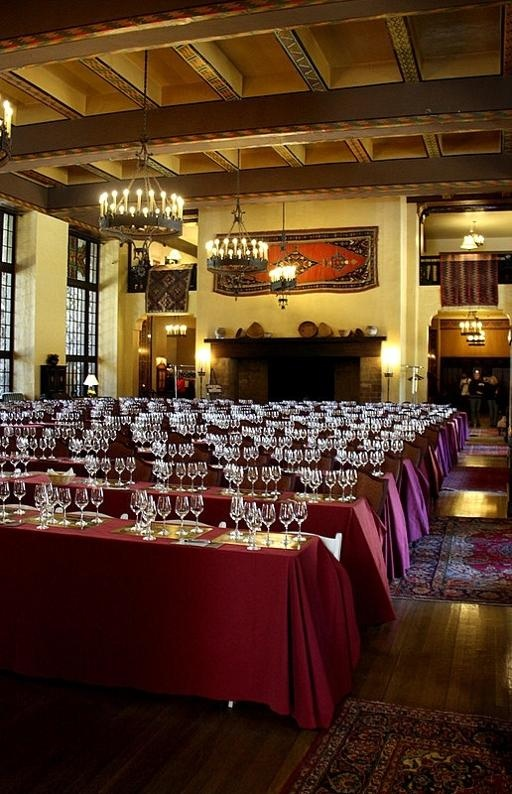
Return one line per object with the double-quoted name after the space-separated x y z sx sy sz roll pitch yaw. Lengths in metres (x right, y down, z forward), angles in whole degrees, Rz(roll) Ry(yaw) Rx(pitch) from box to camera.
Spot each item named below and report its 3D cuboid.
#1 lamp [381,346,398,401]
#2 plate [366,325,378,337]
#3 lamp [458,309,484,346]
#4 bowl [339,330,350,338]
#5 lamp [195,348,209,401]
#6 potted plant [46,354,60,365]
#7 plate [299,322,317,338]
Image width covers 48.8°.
3.894 -0.682 16.478 0.482 1.587 0.234 0 -5 15 "lamp"
3.375 -1.902 16.465 0.342 0.345 0.334 1 -5 5 "plate"
9.301 -3.058 24.414 0.660 1.529 2.642 -2 -5 27 "lamp"
2.615 -1.881 16.719 0.246 0.187 0.261 1 -3 0 "bowl"
-1.692 -0.808 17.905 0.287 1.680 0.705 5 -7 -39 "lamp"
-6.205 -1.137 17.327 0.265 0.371 0.357 2 -8 -16 "potted plant"
1.539 -2.031 16.932 0.566 0.563 0.383 0 -5 9 "plate"
